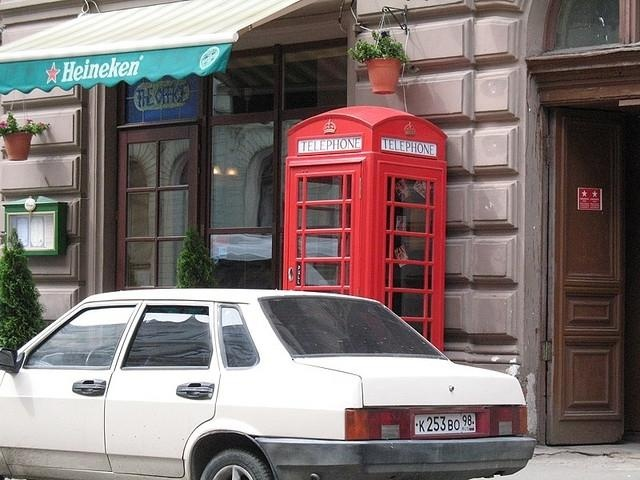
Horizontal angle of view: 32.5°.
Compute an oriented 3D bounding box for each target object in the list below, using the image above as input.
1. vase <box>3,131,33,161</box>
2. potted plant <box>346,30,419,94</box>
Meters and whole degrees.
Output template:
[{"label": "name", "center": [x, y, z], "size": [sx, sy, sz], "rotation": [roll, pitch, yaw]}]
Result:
[{"label": "vase", "center": [-3.914, -1.197, 14.207], "size": [0.338, 0.274, 0.345], "rotation": [-2, -4, -13]}, {"label": "potted plant", "center": [0.663, -1.945, 12.174], "size": [0.622, 0.706, 0.537], "rotation": [4, 15, 31]}]
